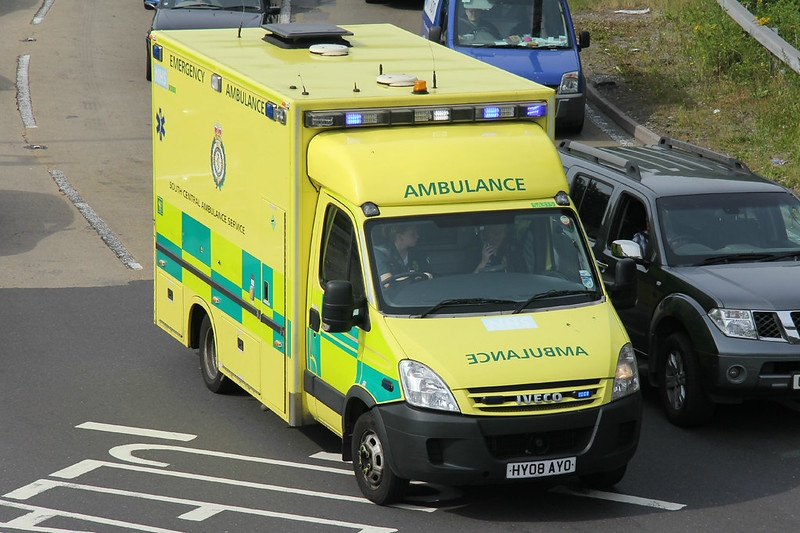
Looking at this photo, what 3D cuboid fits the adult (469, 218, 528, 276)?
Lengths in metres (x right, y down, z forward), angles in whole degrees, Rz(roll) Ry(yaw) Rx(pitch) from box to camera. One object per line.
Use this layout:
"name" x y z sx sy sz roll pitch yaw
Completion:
"adult" 1.059 -0.195 11.704 0.511 0.581 0.627 1 -5 -18

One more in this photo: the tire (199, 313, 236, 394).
"tire" -2.207 1.032 13.409 0.290 0.827 0.851 0 19 -35

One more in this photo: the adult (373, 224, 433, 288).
"adult" 0.070 -0.143 11.364 0.722 0.609 0.902 -3 7 -23

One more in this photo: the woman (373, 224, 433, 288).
"woman" -0.016 -0.122 11.327 0.549 0.451 0.685 -7 11 -31

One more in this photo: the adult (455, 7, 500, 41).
"adult" 1.511 -4.787 21.824 0.572 0.501 0.954 -3 10 -12

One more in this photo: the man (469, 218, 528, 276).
"man" 1.069 -0.197 11.704 0.511 0.581 0.627 1 -5 -18

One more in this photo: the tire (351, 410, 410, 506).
"tire" -0.182 1.907 11.174 0.424 0.990 0.891 -3 15 -28

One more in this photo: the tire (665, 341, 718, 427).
"tire" 3.344 1.331 13.031 0.406 0.984 0.796 -11 32 -14
